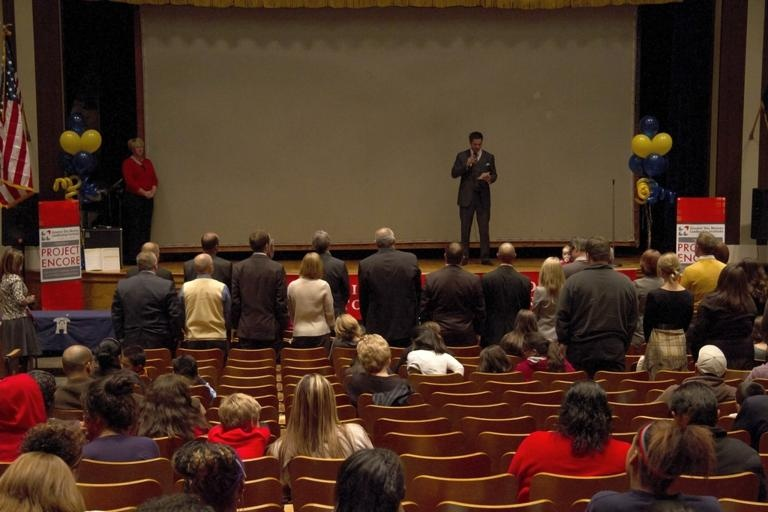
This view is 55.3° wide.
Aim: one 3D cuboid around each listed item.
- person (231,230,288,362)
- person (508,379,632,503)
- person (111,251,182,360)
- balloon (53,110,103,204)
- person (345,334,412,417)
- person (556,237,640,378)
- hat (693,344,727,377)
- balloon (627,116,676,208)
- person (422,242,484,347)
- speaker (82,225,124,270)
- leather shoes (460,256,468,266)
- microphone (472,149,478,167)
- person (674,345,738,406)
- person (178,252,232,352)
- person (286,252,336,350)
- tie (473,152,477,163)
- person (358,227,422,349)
[{"bbox_3d":[-1.572,0.450,9.215,0.695,1.532,0.420,-1,2,-13],"label":"person"},{"bbox_3d":[1.496,1.507,5.870,0.583,0.875,0.449,3,27,-1],"label":"person"},{"bbox_3d":[-2.993,1.011,9.186,0.685,2.139,0.590,1,7,-9],"label":"person"},{"bbox_3d":[-5.394,-1.736,12.844,0.797,1.541,0.696,-1,2,-26],"label":"balloon"},{"bbox_3d":[-0.070,1.137,7.118,0.554,1.234,0.642,2,33,3],"label":"person"},{"bbox_3d":[2.469,0.790,8.450,0.754,2.446,0.747,2,34,14],"label":"person"},{"bbox_3d":[3.150,0.971,7.080,0.207,0.171,0.313,-3,35,6],"label":"hat"},{"bbox_3d":[5.152,-1.821,13.996,0.802,1.676,1.376,0,2,22],"label":"balloon"},{"bbox_3d":[0.915,0.766,9.762,0.772,2.495,0.676,1,40,5],"label":"person"},{"bbox_3d":[-4.836,-0.132,12.540,0.585,0.720,0.642,0,-1,-10],"label":"speaker"},{"bbox_3d":[1.328,0.080,12.065,0.150,0.173,0.256,-2,-10,5],"label":"leather shoes"},{"bbox_3d":[1.667,-1.759,13.283,0.141,0.247,0.080,0,4,-9],"label":"microphone"},{"bbox_3d":[3.150,1.140,7.051,0.735,0.524,0.349,3,-7,14],"label":"person"},{"bbox_3d":[-2.267,0.831,9.233,0.553,2.097,0.597,-3,33,-18],"label":"person"},{"bbox_3d":[-0.924,0.560,9.248,0.590,1.208,0.465,-1,2,-9],"label":"person"},{"bbox_3d":[1.675,-1.778,13.279,0.102,0.169,0.051,4,-5,-26],"label":"tie"},{"bbox_3d":[0.094,0.488,9.663,0.706,2.144,0.689,-2,38,3],"label":"person"}]
